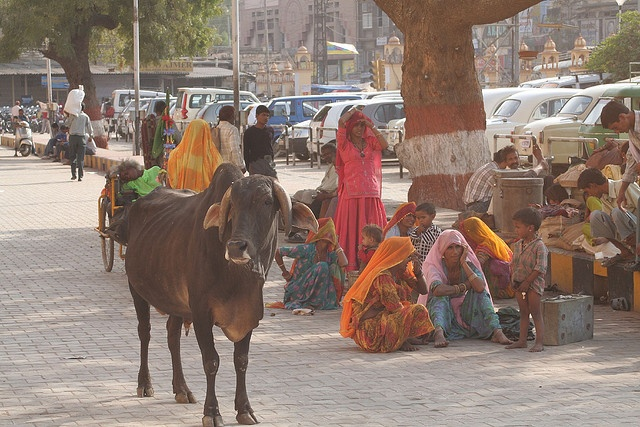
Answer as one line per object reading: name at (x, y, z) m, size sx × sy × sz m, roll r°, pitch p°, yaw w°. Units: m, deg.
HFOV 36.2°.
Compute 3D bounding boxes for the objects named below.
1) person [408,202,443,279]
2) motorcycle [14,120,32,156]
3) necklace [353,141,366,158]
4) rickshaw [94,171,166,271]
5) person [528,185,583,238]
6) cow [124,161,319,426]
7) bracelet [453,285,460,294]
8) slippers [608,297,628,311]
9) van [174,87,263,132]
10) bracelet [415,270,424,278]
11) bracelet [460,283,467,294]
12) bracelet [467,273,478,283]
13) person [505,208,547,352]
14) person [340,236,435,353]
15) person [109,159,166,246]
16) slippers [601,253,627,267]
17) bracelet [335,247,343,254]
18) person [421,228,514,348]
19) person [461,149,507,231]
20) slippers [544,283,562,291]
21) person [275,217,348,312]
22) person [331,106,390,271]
person at (1.340, 0.281, 12.636) m, size 0.321 × 0.836 × 0.319 m, roll 2°, pitch 0°, yaw 2°
motorcycle at (-10.078, -2.544, 33.223) m, size 0.617 × 1.177 × 1.373 m, roll -1°, pitch 6°, yaw -17°
necklace at (0.549, -0.923, 13.718) m, size 0.059 × 0.247 × 0.176 m, roll -16°, pitch -4°, yaw 34°
rickshaw at (-2.358, 0.072, 12.149) m, size 0.587 × 1.436 × 1.750 m, roll 2°, pitch -2°, yaw -19°
person at (3.296, -0.037, 13.962) m, size 0.427 × 0.820 × 0.816 m, roll 1°, pitch 0°, yaw 18°
cow at (-1.123, 0.747, 9.773) m, size 0.783 × 2.514 × 1.880 m, roll -5°, pitch 8°, yaw -44°
bracelet at (1.627, 0.903, 11.773) m, size 0.029 × 0.078 × 0.077 m, roll 1°, pitch -16°, yaw -14°
slippers at (3.833, 1.146, 12.594) m, size 0.232 × 0.172 × 0.078 m, roll 4°, pitch 7°, yaw 35°
van at (-3.937, -3.958, 35.814) m, size 3.177 × 1.538 × 1.805 m, roll -6°, pitch 8°, yaw -28°
bracelet at (1.170, 0.714, 11.622) m, size 0.075 × 0.056 × 0.076 m, roll 0°, pitch 3°, yaw 1°
bracelet at (1.710, 0.885, 11.778) m, size 0.074 × 0.098 × 0.054 m, roll 5°, pitch 1°, yaw 32°
bracelet at (1.822, 0.755, 11.723) m, size 0.106 × 0.099 × 0.066 m, roll 1°, pitch 5°, yaw 3°
person at (2.419, 0.752, 11.404) m, size 0.497 × 1.602 × 0.492 m, roll -1°, pitch -1°, yaw 0°
person at (0.781, 0.924, 11.491) m, size 1.096 × 1.297 × 0.499 m, roll 1°, pitch 5°, yaw 2°
person at (-2.294, -0.136, 12.069) m, size 0.562 × 1.170 × 1.656 m, roll 2°, pitch -3°, yaw -9°
slippers at (3.785, 0.578, 12.593) m, size 0.342 × 0.127 × 0.124 m, roll -8°, pitch 9°, yaw -13°
bracelet at (0.236, 0.473, 12.673) m, size 0.072 × 0.026 × 0.067 m, roll 35°, pitch -12°, yaw 21°
person at (1.732, 0.913, 11.774) m, size 0.862 × 1.479 × 0.876 m, roll -1°, pitch 0°, yaw -11°
person at (2.462, -0.381, 14.852) m, size 0.804 × 1.298 × 0.494 m, roll 2°, pitch 0°, yaw -4°
slippers at (3.171, 0.989, 13.363) m, size 0.199 × 0.106 × 0.277 m, roll 4°, pitch -1°, yaw 29°
person at (-0.144, 0.632, 12.923) m, size 0.805 × 1.294 × 0.762 m, roll -1°, pitch 0°, yaw -14°
person at (0.499, -0.369, 14.041) m, size 0.775 × 2.115 × 0.866 m, roll 0°, pitch 2°, yaw -18°
